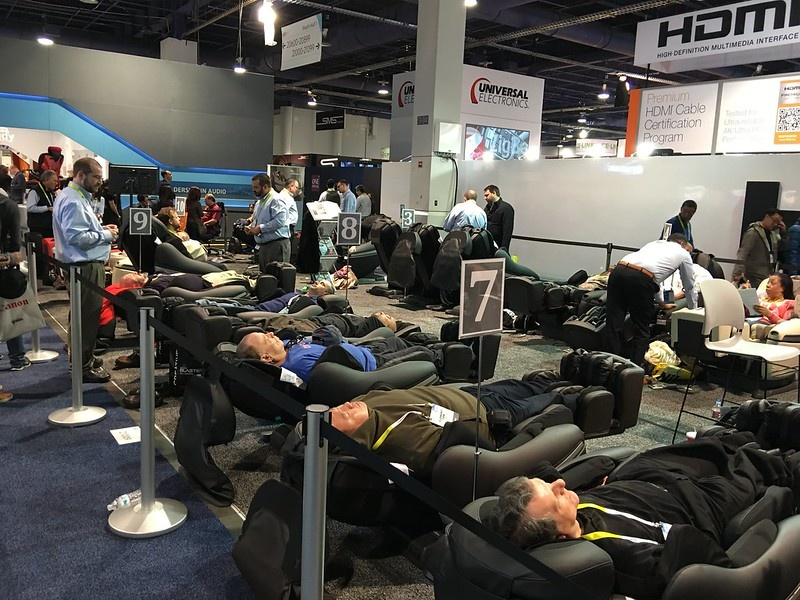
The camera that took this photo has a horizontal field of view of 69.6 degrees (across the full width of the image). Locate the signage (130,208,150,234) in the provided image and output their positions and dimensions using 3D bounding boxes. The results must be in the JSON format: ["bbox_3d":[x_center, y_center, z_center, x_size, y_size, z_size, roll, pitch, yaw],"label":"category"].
[{"bbox_3d":[-2.549,-0.759,5.653,0.191,0.251,0.148,-3,15,-27],"label":"signage"}]

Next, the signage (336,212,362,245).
[{"bbox_3d":[-0.503,-0.685,5.649,0.216,0.326,0.297,2,14,-7],"label":"signage"}]

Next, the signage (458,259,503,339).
[{"bbox_3d":[0.370,-0.007,2.637,0.034,0.454,0.431,6,6,42],"label":"signage"}]

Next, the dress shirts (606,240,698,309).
[{"bbox_3d":[2.462,-0.251,5.532,0.707,0.697,0.554,13,1,-16],"label":"dress shirts"}]

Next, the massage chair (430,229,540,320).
[{"bbox_3d":[1.122,-0.421,7.862,1.381,1.441,1.062,-8,14,-27],"label":"massage chair"}]

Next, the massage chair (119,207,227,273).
[{"bbox_3d":[-2.520,-0.636,6.373,1.006,0.831,0.696,-4,14,-25],"label":"massage chair"}]

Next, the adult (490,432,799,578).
[{"bbox_3d":[1.114,0.892,2.518,0.998,0.320,0.617,-7,2,-26],"label":"adult"}]

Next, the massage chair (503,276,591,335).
[{"bbox_3d":[1.800,0.059,6.882,0.866,0.724,0.647,-13,18,-35],"label":"massage chair"}]

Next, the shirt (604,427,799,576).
[{"bbox_3d":[1.227,0.892,2.585,0.718,0.256,0.514,-9,14,-28],"label":"shirt"}]

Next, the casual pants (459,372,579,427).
[{"bbox_3d":[0.765,0.595,3.504,0.508,0.120,0.291,-7,19,-32],"label":"casual pants"}]

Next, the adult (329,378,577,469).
[{"bbox_3d":[0.255,0.627,3.185,1.015,0.251,0.581,1,6,-34],"label":"adult"}]

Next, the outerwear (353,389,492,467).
[{"bbox_3d":[0.072,0.633,3.045,0.467,0.164,0.454,-7,18,-34],"label":"outerwear"}]

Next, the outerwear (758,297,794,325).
[{"bbox_3d":[3.723,0.112,5.681,0.318,0.139,0.316,-5,24,12],"label":"outerwear"}]

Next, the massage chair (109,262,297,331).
[{"bbox_3d":[-2.193,-0.085,5.592,0.857,0.485,0.614,-7,10,-31],"label":"massage chair"}]

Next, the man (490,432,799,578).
[{"bbox_3d":[1.081,0.894,2.530,0.998,0.320,0.617,-7,2,-26],"label":"man"}]

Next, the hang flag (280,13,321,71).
[{"bbox_3d":[-1.677,-4.348,9.806,0.328,0.785,1.272,-6,16,-34],"label":"hang flag"}]

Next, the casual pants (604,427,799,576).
[{"bbox_3d":[1.262,0.897,2.586,0.718,0.256,0.514,-9,14,-28],"label":"casual pants"}]

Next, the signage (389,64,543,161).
[{"bbox_3d":[1.471,-3.962,12.432,3.430,2.386,1.804,-9,19,-32],"label":"signage"}]

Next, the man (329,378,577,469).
[{"bbox_3d":[0.263,0.626,3.200,1.015,0.251,0.581,1,6,-34],"label":"man"}]

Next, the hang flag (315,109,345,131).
[{"bbox_3d":[-2.661,-6.796,22.014,0.149,0.771,1.336,-6,10,-41],"label":"hang flag"}]
